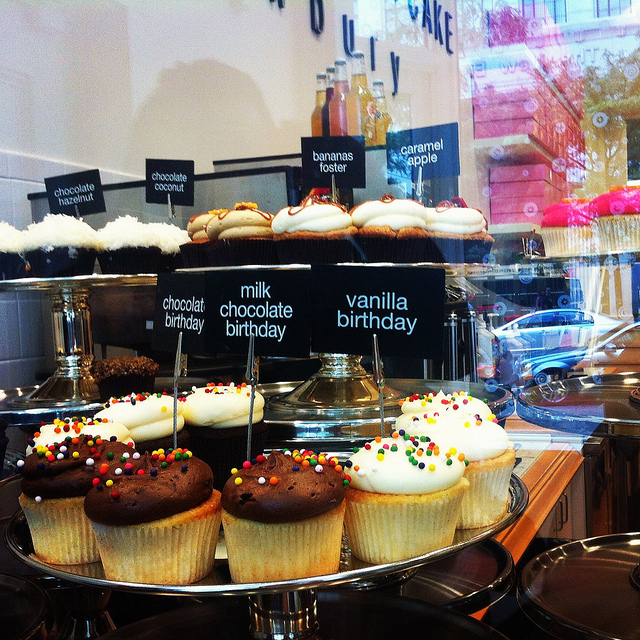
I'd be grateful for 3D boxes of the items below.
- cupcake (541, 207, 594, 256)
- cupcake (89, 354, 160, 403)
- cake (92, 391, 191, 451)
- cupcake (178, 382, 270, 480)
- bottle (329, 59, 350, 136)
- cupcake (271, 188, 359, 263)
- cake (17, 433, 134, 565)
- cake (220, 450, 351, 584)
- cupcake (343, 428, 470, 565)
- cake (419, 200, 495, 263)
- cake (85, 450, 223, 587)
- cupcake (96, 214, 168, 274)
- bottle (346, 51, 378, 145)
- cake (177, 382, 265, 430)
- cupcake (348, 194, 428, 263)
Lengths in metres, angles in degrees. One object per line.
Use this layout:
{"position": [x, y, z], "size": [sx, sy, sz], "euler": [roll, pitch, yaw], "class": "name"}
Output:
{"position": [0.373, -0.133, 0.884], "size": [0.060, 0.065, 0.068], "euler": [-1, 2, 31], "class": "cupcake"}
{"position": [-0.593, 0.173, 1.785], "size": [0.157, 0.143, 0.175], "euler": [-1, -8, 13], "class": "cupcake"}
{"position": [-0.306, 0.182, 1.015], "size": [0.158, 0.105, 0.238], "euler": [-3, 0, -15], "class": "cake"}
{"position": [-0.172, 0.191, 1.082], "size": [0.143, 0.173, 0.170], "euler": [1, -4, -7], "class": "cupcake"}
{"position": [0.047, -0.549, 1.459], "size": [0.053, 0.174, 0.091], "euler": [-2, 1, 2], "class": "bottle"}
{"position": [-0.011, -0.204, 1.390], "size": [0.150, 0.153, 0.165], "euler": [1, 0, 8], "class": "cupcake"}
{"position": [-0.365, 0.268, 0.885], "size": [0.159, 0.167, 0.151], "euler": [-8, -10, 35], "class": "cake"}
{"position": [-0.045, 0.245, 0.752], "size": [0.144, 0.150, 0.158], "euler": [0, -10, 3], "class": "cake"}
{"position": [0.105, 0.221, 0.869], "size": [0.166, 0.166, 0.185], "euler": [-1, 8, -20], "class": "cupcake"}
{"position": [0.267, -0.167, 1.147], "size": [0.096, 0.087, 0.127], "euler": [1, 0, 4], "class": "cake"}
{"position": [-0.225, 0.270, 0.797], "size": [0.175, 0.179, 0.140], "euler": [-3, 0, -12], "class": "cake"}
{"position": [-0.574, -0.210, 1.796], "size": [0.163, 0.167, 0.178], "euler": [1, 0, -3], "class": "cupcake"}
{"position": [0.086, -0.521, 1.406], "size": [0.094, 0.190, 0.088], "euler": [-3, 1, 0], "class": "bottle"}
{"position": [-0.197, 0.164, 1.134], "size": [0.148, 0.080, 0.155], "euler": [-3, 0, -19], "class": "cake"}
{"position": [0.151, -0.197, 1.284], "size": [0.172, 0.125, 0.082], "euler": [-3, 0, 14], "class": "cupcake"}
